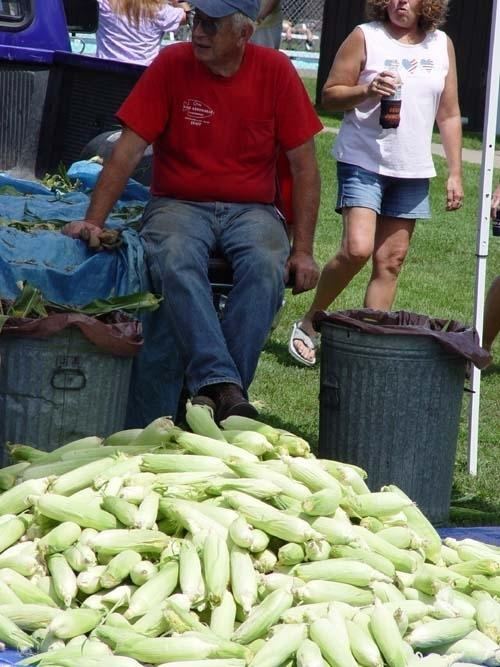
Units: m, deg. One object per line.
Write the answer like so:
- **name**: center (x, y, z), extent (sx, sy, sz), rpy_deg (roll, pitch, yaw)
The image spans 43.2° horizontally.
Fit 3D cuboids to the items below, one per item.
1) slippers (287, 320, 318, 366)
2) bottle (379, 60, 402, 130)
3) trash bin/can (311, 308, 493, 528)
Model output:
- **slippers**: center (0.347, 0.081, 4.108), extent (0.136, 0.127, 0.344), rpy_deg (2, 50, -19)
- **bottle**: center (0.666, -1.127, 2.968), extent (0.104, 0.326, 0.179), rpy_deg (6, 7, 10)
- **trash bin/can**: center (0.499, 0.282, 2.680), extent (0.787, 0.864, 0.804), rpy_deg (-2, 9, -28)
